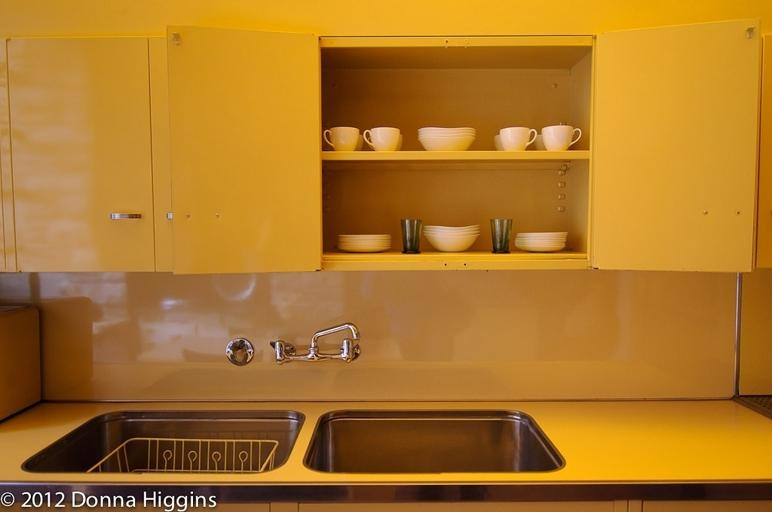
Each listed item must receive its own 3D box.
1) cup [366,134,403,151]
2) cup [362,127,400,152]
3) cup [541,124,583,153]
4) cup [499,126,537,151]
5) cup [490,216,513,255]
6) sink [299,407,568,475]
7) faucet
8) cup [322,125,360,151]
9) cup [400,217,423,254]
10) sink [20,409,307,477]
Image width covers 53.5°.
[{"bbox_3d":[-0.019,-0.476,3.197,0.108,0.052,0.085,-1,3,2],"label":"cup"},{"bbox_3d":[-0.015,-0.486,3.213,0.138,0.086,0.110,-2,4,-3],"label":"cup"},{"bbox_3d":[0.736,-0.487,3.189,0.144,0.090,0.116,2,2,7],"label":"cup"},{"bbox_3d":[0.556,-0.479,3.204,0.137,0.085,0.112,2,2,9],"label":"cup"},{"bbox_3d":[0.476,-0.083,3.188,0.129,0.184,0.128,1,-7,0],"label":"cup"},{"bbox_3d":[0.209,0.811,3.240,0.978,0.279,0.277,2,7,9],"label":"sink"},{"bbox_3d":[-0.299,0.380,3.350,0.497,0.202,0.161,-3,-4,8],"label":"faucet"},{"bbox_3d":[-0.188,-0.481,3.204,0.133,0.083,0.111,0,3,25],"label":"cup"},{"bbox_3d":[0.101,-0.083,3.193,0.126,0.179,0.126,1,0,0],"label":"cup"},{"bbox_3d":[-0.919,0.791,3.197,0.598,0.214,0.446,2,-3,-3],"label":"sink"}]
